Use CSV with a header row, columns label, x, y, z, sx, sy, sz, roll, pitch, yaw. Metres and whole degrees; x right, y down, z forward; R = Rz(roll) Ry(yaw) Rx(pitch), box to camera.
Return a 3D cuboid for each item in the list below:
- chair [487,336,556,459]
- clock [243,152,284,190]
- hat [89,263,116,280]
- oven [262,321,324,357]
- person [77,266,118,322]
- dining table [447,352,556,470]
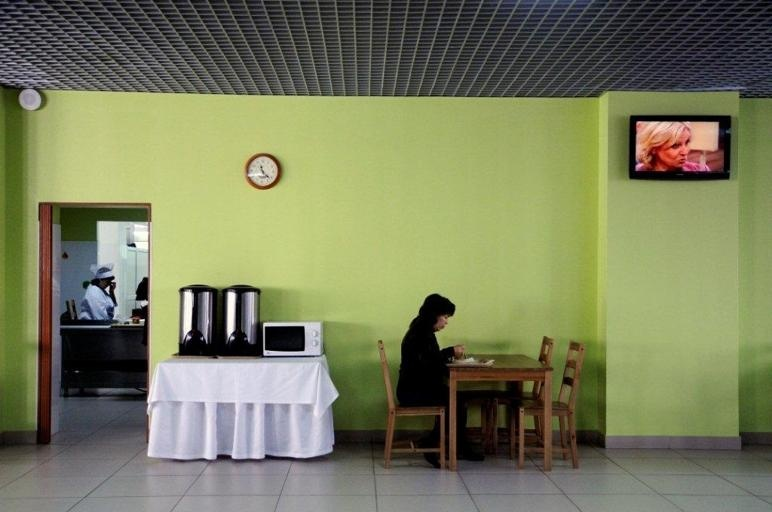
label,x,y,z,sx,sy,sz,roll,pitch,yaw
chair,1.500,1.383,7.360,0.855,1.351,0.926,9,-22,5
clock,-1.467,-1.010,7.927,0.433,0.407,0.100,11,1,1
hat,-4.670,0.265,10.805,0.325,0.179,0.325,0,-1,-10
oven,-1.067,0.964,7.417,0.662,0.376,0.388,0,-7,-2
person,-4.710,0.613,10.666,0.519,0.984,0.597,-1,0,-20
dining table,1.216,1.876,7.482,1.110,1.068,1.471,-1,-1,-3
